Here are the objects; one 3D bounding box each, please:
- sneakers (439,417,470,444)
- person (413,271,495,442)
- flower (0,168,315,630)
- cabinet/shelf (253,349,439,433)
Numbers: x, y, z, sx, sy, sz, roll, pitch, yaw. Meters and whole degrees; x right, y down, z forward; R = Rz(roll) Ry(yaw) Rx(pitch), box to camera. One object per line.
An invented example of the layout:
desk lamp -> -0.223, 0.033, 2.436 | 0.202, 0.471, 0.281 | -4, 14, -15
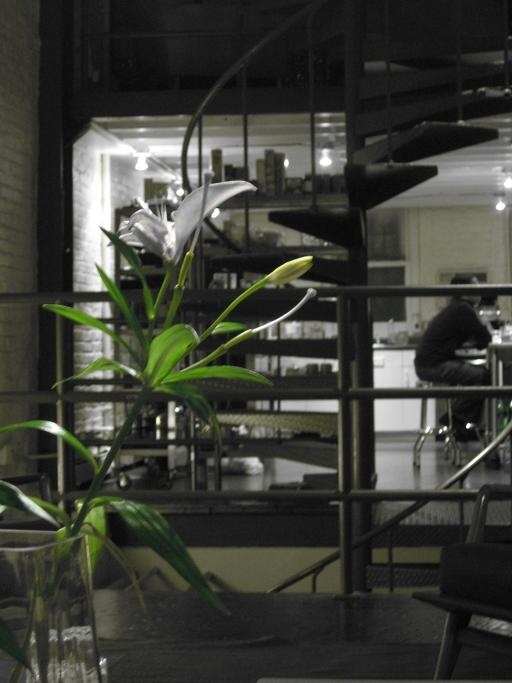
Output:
sneakers -> 1.199, 0.531, 6.281 | 0.186, 0.197, 0.072 | 0, 19, 6
person -> 1.128, 0.081, 5.970 | 0.405, 0.895, 0.324 | -1, 1, -2
flower -> -0.258, 0.142, 2.910 | 0.778, 0.938, 1.665 | 5, 1, 2
cabinet/shelf -> 0.891, 0.388, 7.795 | 1.132, 0.657, 0.797 | 1, -1, 4
